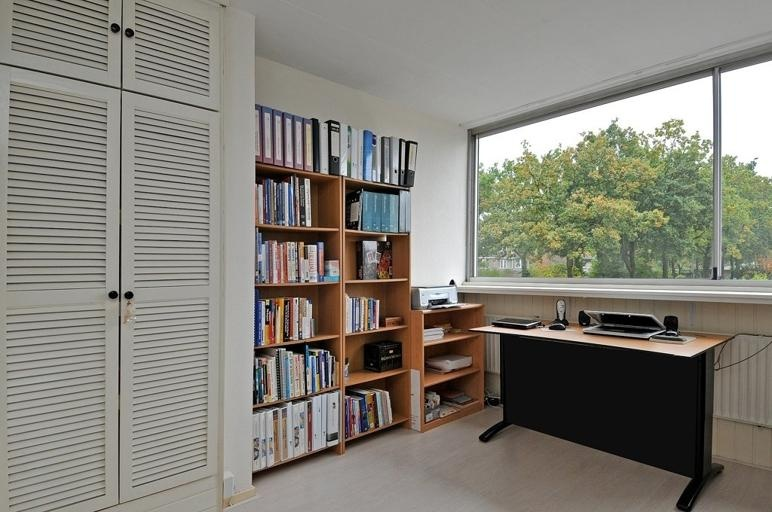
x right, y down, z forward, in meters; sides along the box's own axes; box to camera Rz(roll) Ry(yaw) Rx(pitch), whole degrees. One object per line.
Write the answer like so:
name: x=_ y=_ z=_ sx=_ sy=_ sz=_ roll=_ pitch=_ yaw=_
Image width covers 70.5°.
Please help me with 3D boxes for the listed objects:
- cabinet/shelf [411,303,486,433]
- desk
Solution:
cabinet/shelf: x=0.593 y=1.087 z=5.179 sx=0.415 sy=1.245 sz=1.134 roll=-4 pitch=-4 yaw=42
desk: x=2.051 y=1.152 z=4.692 sx=2.177 sy=1.306 sz=1.149 roll=0 pitch=-4 yaw=42
